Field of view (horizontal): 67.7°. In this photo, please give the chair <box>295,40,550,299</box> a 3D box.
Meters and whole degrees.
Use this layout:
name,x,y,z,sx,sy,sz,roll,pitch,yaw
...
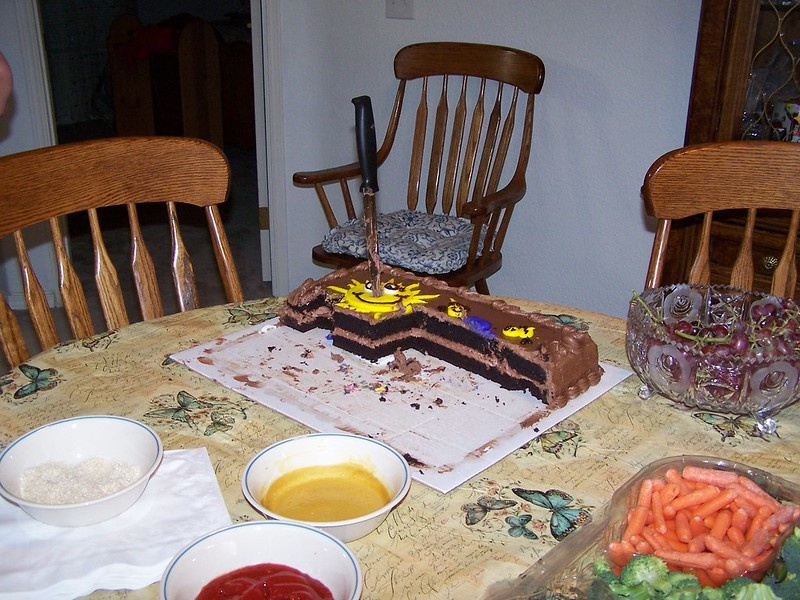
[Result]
name,x,y,z,sx,sy,sz,roll,pitch,yaw
chair,0.120,-0.444,2.795,1.077,1.225,0.945,8,43,23

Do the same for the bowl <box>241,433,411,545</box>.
name,x,y,z,sx,sy,sz,roll,pitch,yaw
bowl,-0.097,0.254,0.803,0.213,0.052,0.202,3,15,-1
